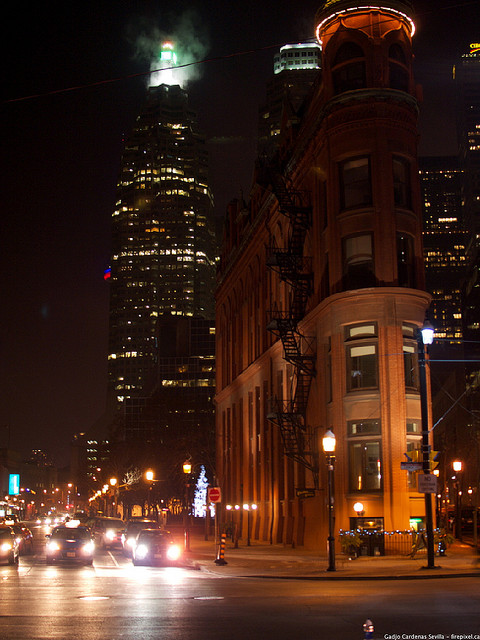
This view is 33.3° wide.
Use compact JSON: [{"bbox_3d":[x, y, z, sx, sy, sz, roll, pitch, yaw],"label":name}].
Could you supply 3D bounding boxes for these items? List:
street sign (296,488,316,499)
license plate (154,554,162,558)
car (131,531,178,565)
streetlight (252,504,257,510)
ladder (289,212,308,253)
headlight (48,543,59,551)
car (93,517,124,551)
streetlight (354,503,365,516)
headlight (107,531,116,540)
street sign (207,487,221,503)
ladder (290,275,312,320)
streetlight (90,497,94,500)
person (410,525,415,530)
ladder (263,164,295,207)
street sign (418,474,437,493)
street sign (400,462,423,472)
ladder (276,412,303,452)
[{"bbox_3d":[3.184,8.519,39.365,0.790,0.367,0.897,-1,-2,8],"label":"street sign"},{"bbox_3d":[-3.105,8.836,30.081,0.287,0.119,0.041,7,-17,-15],"label":"license plate"},{"bbox_3d":[-3.265,8.704,30.625,1.592,1.238,1.085,4,-18,-10],"label":"car"},{"bbox_3d":[0.955,13.136,56.540,0.237,0.380,0.820,4,-20,-10],"label":"streetlight"},{"bbox_3d":[3.076,-5.120,44.817,0.764,0.673,3.659,4,-41,-2],"label":"ladder"},{"bbox_3d":[-6.830,8.293,29.369,0.493,0.275,0.080,-12,-20,34],"label":"headlight"},{"bbox_3d":[-7.465,11.946,45.016,1.484,1.591,2.826,4,-18,-19],"label":"car"},{"bbox_3d":[5.053,8.044,34.251,0.437,0.470,1.102,-3,-20,13],"label":"streetlight"},{"bbox_3d":[-7.103,11.780,43.927,0.077,0.442,0.720,13,-22,-37],"label":"headlight"},{"bbox_3d":[-1.069,6.929,31.845,0.486,0.638,1.513,2,-20,-2],"label":"street sign"},{"bbox_3d":[3.324,-1.179,44.017,0.503,1.885,1.626,7,21,5],"label":"ladder"},{"bbox_3d":[-34.582,41.510,186.140,0.853,0.283,0.979,2,18,12],"label":"streetlight"},{"bbox_3d":[7.277,8.789,34.049,0.128,0.253,0.739,-2,-20,11],"label":"person"},{"bbox_3d":[2.304,-7.951,47.551,0.517,4.496,0.193,7,-48,-16],"label":"ladder"},{"bbox_3d":[5.926,5.213,25.531,0.479,0.595,0.075,-2,-7,8],"label":"street sign"},{"bbox_3d":[5.722,4.909,26.869,0.711,0.257,0.736,-4,-21,15],"label":"street sign"},{"bbox_3d":[2.670,6.008,43.367,0.645,2.280,2.182,-6,-15,12],"label":"ladder"}]
